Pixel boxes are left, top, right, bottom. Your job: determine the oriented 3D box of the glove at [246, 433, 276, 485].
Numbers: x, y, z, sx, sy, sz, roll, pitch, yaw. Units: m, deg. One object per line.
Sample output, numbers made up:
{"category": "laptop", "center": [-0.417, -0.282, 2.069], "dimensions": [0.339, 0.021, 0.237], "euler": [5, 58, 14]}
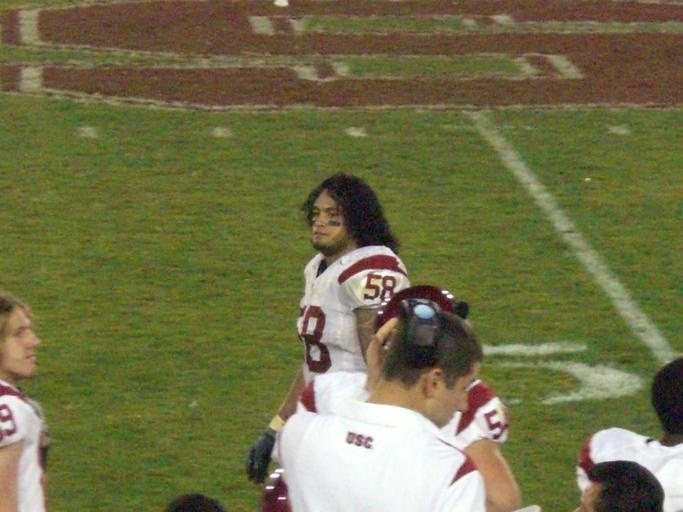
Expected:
{"category": "glove", "center": [-0.793, 1.991, 21.718], "dimensions": [0.142, 0.501, 0.306], "euler": [1, 27, -44]}
